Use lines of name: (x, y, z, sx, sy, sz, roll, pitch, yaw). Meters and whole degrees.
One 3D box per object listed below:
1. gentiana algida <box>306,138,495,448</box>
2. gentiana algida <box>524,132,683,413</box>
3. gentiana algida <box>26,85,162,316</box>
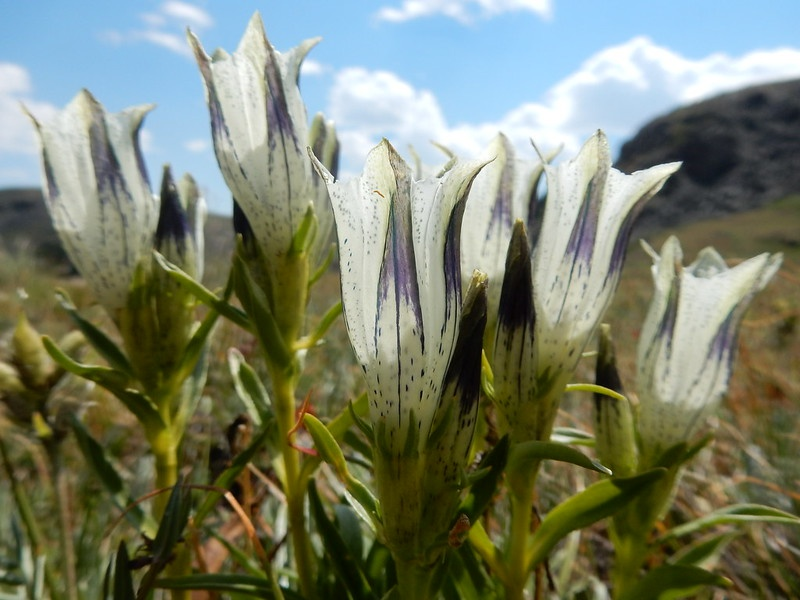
gentiana algida: (0.017, -0.046, 1.912, 0.527, 0.856, 0.545, 2, 5, 12)
gentiana algida: (0.500, -0.096, 1.850, 0.367, 0.637, 0.106, -2, 7, -8)
gentiana algida: (-0.831, -0.208, 2.017, 0.320, 0.627, 0.295, -21, -18, 14)
